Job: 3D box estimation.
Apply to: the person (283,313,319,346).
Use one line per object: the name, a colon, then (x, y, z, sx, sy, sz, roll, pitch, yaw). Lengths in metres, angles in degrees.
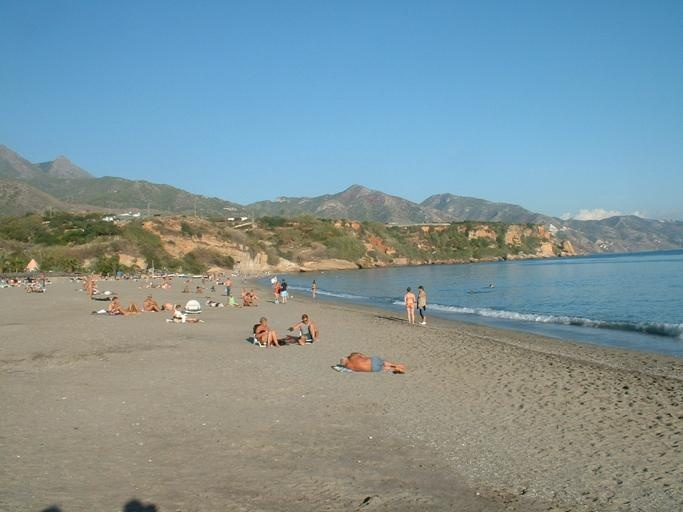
person: (-1.624, 2.776, 20.900, 0.979, 0.945, 1.852, 1, 4, 28)

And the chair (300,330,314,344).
chair: (-1.294, 3.063, 20.836, 0.495, 0.377, 0.668, -1, 1, -4)

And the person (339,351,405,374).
person: (0.812, 3.318, 16.788, 2.144, 0.644, 0.421, 4, -36, 5)
